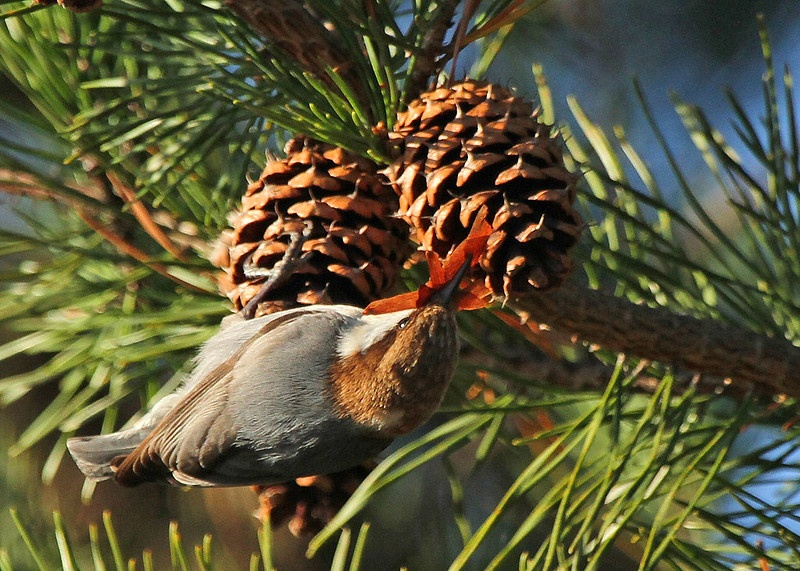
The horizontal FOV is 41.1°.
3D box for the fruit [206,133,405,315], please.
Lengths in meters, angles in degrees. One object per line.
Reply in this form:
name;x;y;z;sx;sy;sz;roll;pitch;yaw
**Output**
fruit;-0.297;-0.136;3.611;0.560;0.564;0.558;-30;13;-22
